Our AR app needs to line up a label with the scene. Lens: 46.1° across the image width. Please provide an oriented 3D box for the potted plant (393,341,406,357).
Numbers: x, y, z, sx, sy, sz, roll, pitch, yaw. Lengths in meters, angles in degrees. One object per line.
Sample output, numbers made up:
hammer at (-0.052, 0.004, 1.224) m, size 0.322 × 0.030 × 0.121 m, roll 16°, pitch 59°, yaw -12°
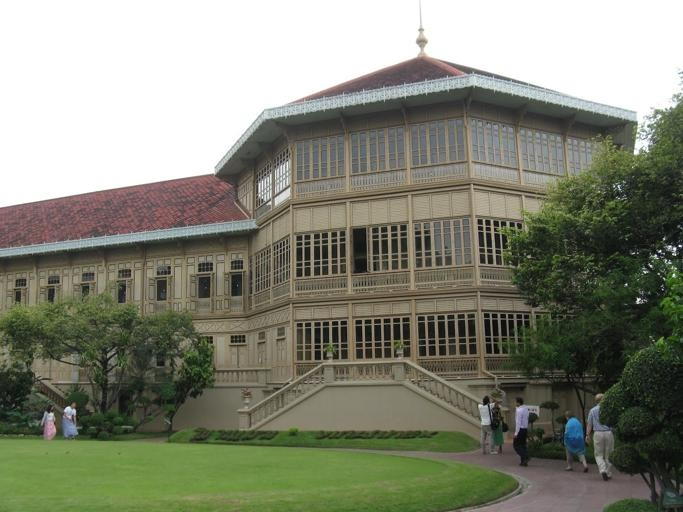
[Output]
potted plant at (2.709, 4.333, 37.615) m, size 0.652 × 0.949 × 0.642 m, roll 0°, pitch -9°, yaw 3°

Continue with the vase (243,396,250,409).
vase at (-4.467, 6.869, 37.728) m, size 0.422 × 0.564 × 0.444 m, roll -1°, pitch -15°, yaw 2°

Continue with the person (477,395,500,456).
person at (5.388, 6.201, 29.899) m, size 0.689 × 2.268 × 0.706 m, roll -4°, pitch 15°, yaw 4°

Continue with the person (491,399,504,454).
person at (5.773, 6.324, 29.776) m, size 0.382 × 1.957 × 1.217 m, roll -3°, pitch -16°, yaw 10°

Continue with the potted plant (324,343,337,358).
potted plant at (-0.622, 4.515, 38.210) m, size 0.698 × 0.948 × 0.717 m, roll -4°, pitch -7°, yaw 36°
